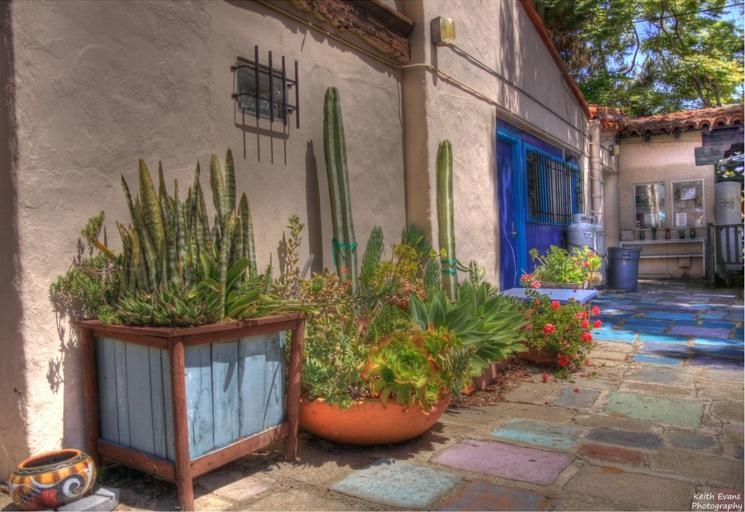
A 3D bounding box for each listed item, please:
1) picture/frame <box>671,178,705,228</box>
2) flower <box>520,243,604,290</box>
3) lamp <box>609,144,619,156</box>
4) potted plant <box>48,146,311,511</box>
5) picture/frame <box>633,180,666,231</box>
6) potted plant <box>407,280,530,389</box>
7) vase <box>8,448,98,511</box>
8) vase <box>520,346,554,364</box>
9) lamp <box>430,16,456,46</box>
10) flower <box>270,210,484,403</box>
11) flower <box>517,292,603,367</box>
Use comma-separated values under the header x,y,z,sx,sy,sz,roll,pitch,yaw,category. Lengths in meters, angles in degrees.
x,y,z,sx,sy,sz,roll,pitch,yaw,category
7.509,-1.205,13.289,0.700,1.074,0.143,1,8,13,picture/frame
2.787,0.184,8.196,1.054,0.511,1.087,-2,2,15,flower
5.930,-2.525,13.681,0.080,0.278,0.599,6,10,39,lamp
-1.177,0.360,3.569,1.115,2.007,1.060,5,10,34,potted plant
6.771,-1.217,13.625,0.689,1.067,0.138,3,9,22,picture/frame
0.760,0.737,4.565,0.839,0.376,0.846,17,24,12,potted plant
-1.785,1.207,3.131,0.316,0.180,0.333,0,0,44,vase
1.650,0.972,5.594,0.223,0.091,0.228,-1,-4,28,vase
0.739,-2.307,5.896,0.237,0.256,0.124,-2,8,-13,lamp
-0.044,0.424,4.375,1.516,1.121,1.239,-3,12,-23,flower
1.849,0.706,5.614,0.757,0.596,0.814,3,7,16,flower
